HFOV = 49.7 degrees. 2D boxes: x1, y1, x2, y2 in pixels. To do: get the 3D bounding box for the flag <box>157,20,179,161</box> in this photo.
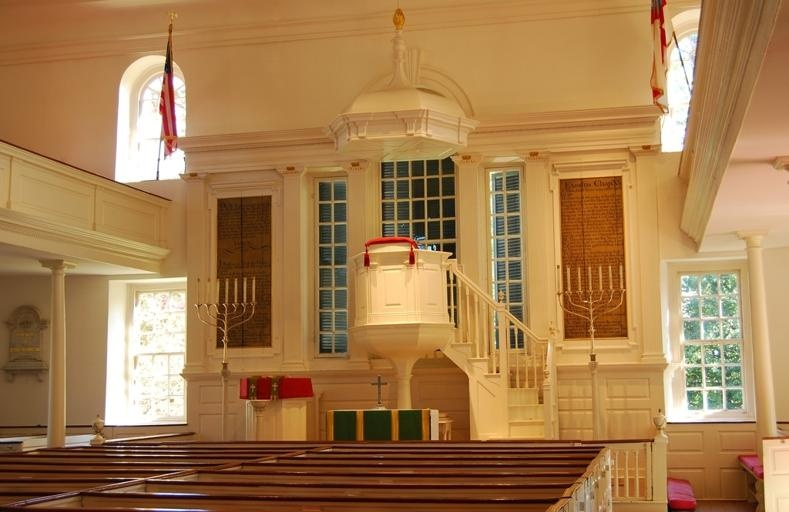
[{"bbox_3d":[-3.743,-2.866,14.123,0.306,2.568,1.103,2,-12,-15],"label":"flag"}]
